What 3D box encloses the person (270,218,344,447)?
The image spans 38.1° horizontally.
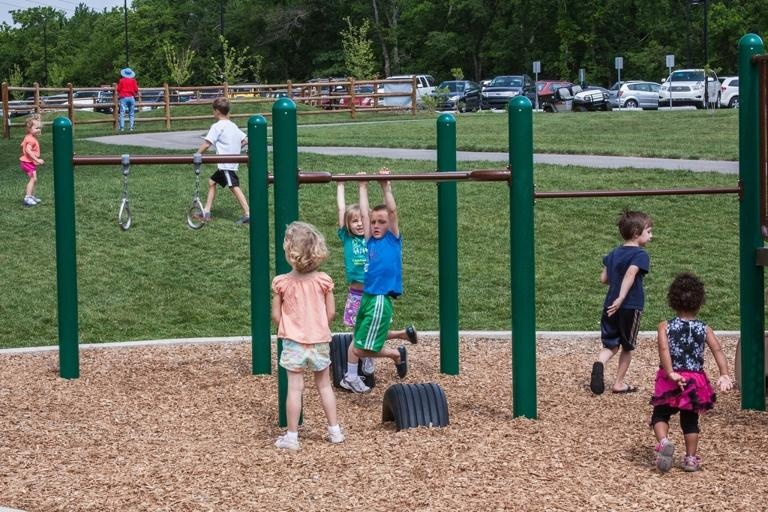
[{"bbox_3d":[-0.738,0.744,10.599,0.660,2.126,0.523,-2,11,-3],"label":"person"}]

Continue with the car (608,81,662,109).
[{"bbox_3d":[8.996,-5.869,39.978,1.665,0.803,0.977,-5,14,-8],"label":"car"}]

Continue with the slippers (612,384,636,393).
[{"bbox_3d":[2.534,1.394,11.661,0.099,0.082,0.259,-4,-7,34],"label":"slippers"}]

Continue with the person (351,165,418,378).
[{"bbox_3d":[-0.074,0.234,11.484,0.526,2.362,0.949,0,11,6],"label":"person"}]

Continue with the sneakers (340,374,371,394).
[{"bbox_3d":[-0.302,1.361,11.616,0.338,0.162,0.150,20,21,-2],"label":"sneakers"}]

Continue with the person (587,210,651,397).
[{"bbox_3d":[2.483,0.456,11.646,0.603,1.899,0.759,1,12,12],"label":"person"}]

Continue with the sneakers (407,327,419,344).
[{"bbox_3d":[0.318,0.889,12.278,0.102,0.082,0.238,-10,-32,2],"label":"sneakers"}]

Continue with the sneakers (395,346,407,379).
[{"bbox_3d":[0.188,1.149,11.967,0.135,0.328,0.119,-7,18,-6],"label":"sneakers"}]

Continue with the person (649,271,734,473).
[{"bbox_3d":[2.765,1.078,10.244,0.579,1.726,0.810,8,15,39],"label":"person"}]

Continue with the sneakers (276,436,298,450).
[{"bbox_3d":[-0.913,1.790,10.555,0.188,0.079,0.117,7,18,16],"label":"sneakers"}]

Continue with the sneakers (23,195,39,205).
[{"bbox_3d":[-5.760,-0.923,18.193,0.139,0.118,0.187,4,11,4],"label":"sneakers"}]

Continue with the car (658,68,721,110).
[{"bbox_3d":[10.318,-5.674,37.379,1.794,1.280,2.769,-2,12,-4],"label":"car"}]

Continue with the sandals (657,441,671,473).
[{"bbox_3d":[2.565,1.837,10.156,0.149,0.301,0.136,1,12,11],"label":"sandals"}]

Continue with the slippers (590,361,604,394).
[{"bbox_3d":[2.212,1.277,11.567,0.142,0.326,0.134,-3,-5,18],"label":"slippers"}]
